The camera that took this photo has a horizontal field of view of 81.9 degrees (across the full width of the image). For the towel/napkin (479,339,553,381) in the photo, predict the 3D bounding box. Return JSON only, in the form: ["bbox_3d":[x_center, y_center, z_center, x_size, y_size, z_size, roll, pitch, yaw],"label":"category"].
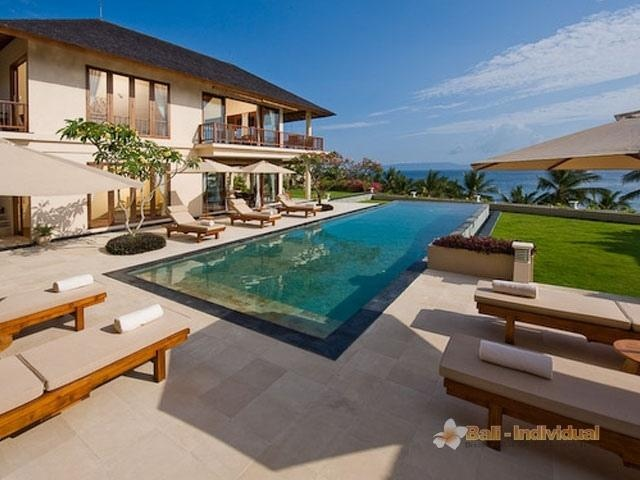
[{"bbox_3d":[2.572,1.526,4.816,0.563,0.179,0.540,5,-4,26],"label":"towel/napkin"}]

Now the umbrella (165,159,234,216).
[{"bbox_3d":[-5.444,-2.575,18.651,3.218,2.268,3.593,4,9,21],"label":"umbrella"}]

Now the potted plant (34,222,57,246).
[{"bbox_3d":[-9.875,-0.261,13.135,0.789,0.721,0.789,3,-1,-38],"label":"potted plant"}]

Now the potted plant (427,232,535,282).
[{"bbox_3d":[4.239,0.461,9.821,2.452,1.005,0.580,8,15,36],"label":"potted plant"}]
